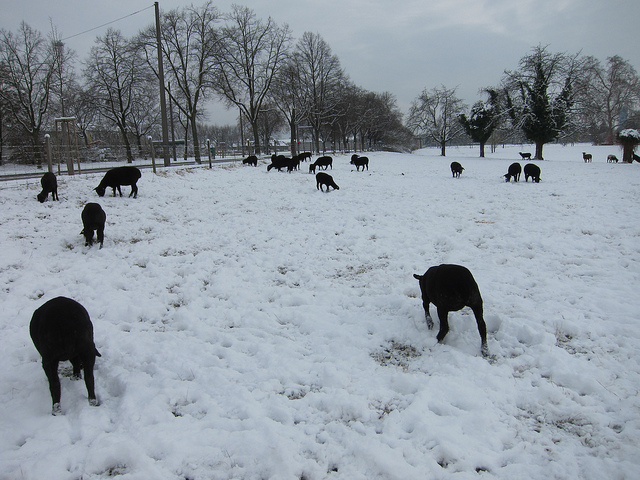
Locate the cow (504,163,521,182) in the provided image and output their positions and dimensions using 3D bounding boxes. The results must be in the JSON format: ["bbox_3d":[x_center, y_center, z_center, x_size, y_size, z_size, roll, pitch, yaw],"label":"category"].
[{"bbox_3d":[8.932,-3.134,25.462,0.353,0.752,1.342,2,21,16],"label":"cow"}]

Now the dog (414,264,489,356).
[{"bbox_3d":[2.733,1.391,11.458,1.349,1.759,1.667,-2,8,-11],"label":"dog"}]

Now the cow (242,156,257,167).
[{"bbox_3d":[-4.010,-4.767,32.821,1.402,0.891,0.375,8,9,41],"label":"cow"}]

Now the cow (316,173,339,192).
[{"bbox_3d":[0.260,-2.423,22.757,0.708,0.715,1.005,-9,12,-22],"label":"cow"}]

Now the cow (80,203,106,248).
[{"bbox_3d":[-6.110,-0.450,14.719,0.411,0.952,1.513,2,20,-18],"label":"cow"}]

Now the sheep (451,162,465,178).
[{"bbox_3d":[7.084,-3.652,28.584,0.503,0.715,1.168,-2,12,14],"label":"sheep"}]

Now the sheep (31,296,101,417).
[{"bbox_3d":[-5.347,1.904,11.665,0.942,2.403,3.633,-8,11,-24],"label":"sheep"}]

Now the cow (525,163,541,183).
[{"bbox_3d":[9.723,-3.065,25.229,0.626,0.810,0.676,0,11,22],"label":"cow"}]

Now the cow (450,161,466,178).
[{"bbox_3d":[7.163,-3.702,28.978,0.412,0.889,1.519,-1,-3,4],"label":"cow"}]

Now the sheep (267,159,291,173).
[{"bbox_3d":[-2.262,-4.067,30.038,1.258,0.622,1.025,-8,12,-13],"label":"sheep"}]

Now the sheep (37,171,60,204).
[{"bbox_3d":[-8.850,-1.729,18.111,0.451,1.046,1.660,-1,0,-24],"label":"sheep"}]

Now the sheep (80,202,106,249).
[{"bbox_3d":[-6.020,-0.455,14.691,0.408,0.852,1.491,0,23,-18],"label":"sheep"}]

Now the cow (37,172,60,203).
[{"bbox_3d":[-8.663,-1.672,17.569,0.655,0.905,0.549,-13,13,-39],"label":"cow"}]
